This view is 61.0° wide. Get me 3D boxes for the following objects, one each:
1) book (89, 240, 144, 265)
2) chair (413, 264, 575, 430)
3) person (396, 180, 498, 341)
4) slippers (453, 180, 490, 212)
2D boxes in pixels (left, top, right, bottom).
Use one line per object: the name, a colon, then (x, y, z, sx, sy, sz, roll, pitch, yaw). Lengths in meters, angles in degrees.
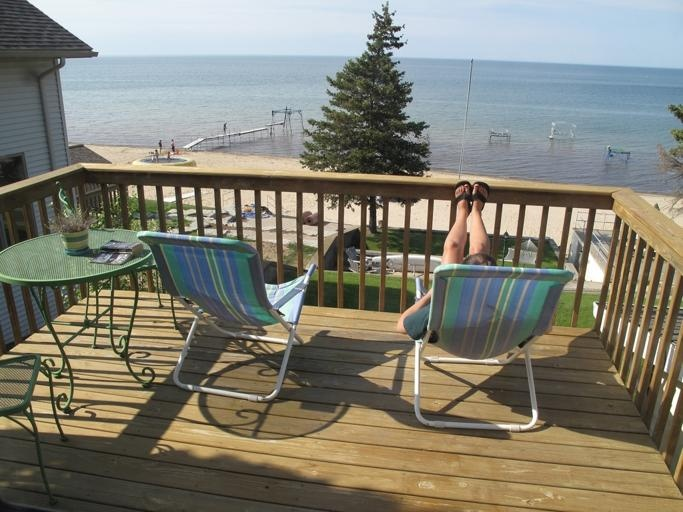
book: (-1.433, -0.020, 3.684, 0.212, 0.041, 0.190, 7, 31, 19)
chair: (0.831, 0.485, 3.439, 0.778, 1.028, 0.643, 3, 15, 6)
person: (0.716, 0.006, 3.995, 0.847, 0.981, 0.514, 7, -16, 21)
slippers: (0.911, -0.426, 4.117, 0.244, 0.216, 0.069, 5, 9, 13)
